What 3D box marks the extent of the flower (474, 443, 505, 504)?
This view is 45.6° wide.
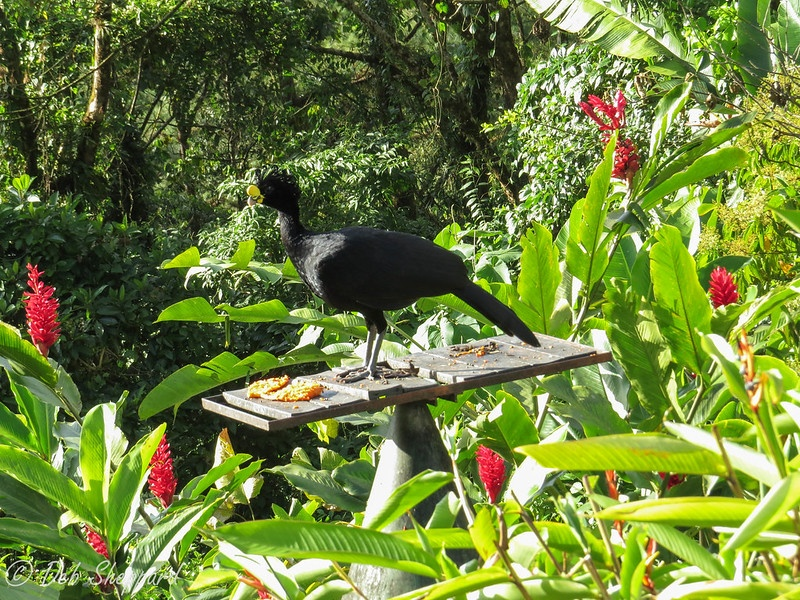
[{"bbox_3d":[0.364,0.676,3.698,0.101,0.189,0.252,-16,7,2],"label":"flower"}]

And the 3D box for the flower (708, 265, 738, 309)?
[{"bbox_3d":[1.352,-0.058,3.979,0.105,0.111,0.157,-10,9,45],"label":"flower"}]

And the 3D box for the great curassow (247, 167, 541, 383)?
[{"bbox_3d":[-0.037,-0.082,4.009,1.214,0.853,0.416,1,5,-2],"label":"great curassow"}]
